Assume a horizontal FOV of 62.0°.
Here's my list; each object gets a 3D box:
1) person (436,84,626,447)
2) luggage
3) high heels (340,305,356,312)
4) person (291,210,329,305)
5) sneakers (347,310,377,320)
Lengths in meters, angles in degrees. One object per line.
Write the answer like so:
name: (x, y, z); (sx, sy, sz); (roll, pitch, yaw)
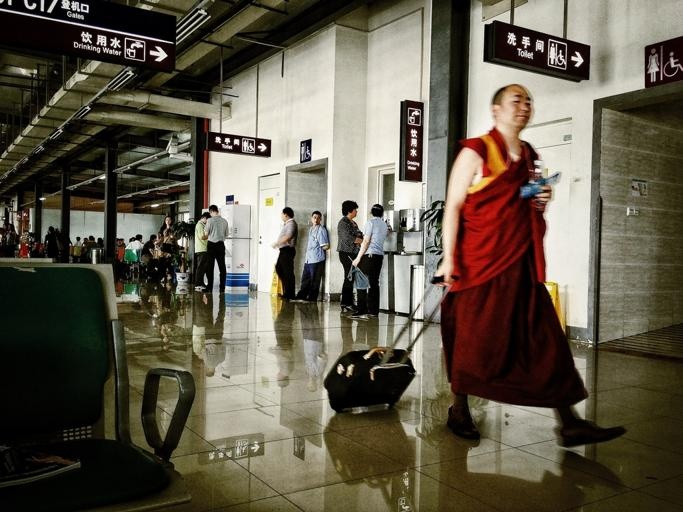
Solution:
person: (0.908, -0.066, 3.100); (0.761, 1.722, 0.263); (2, 2, 10)
luggage: (0.450, 0.749, 4.971); (0.553, 1.333, 0.471); (10, 31, -48)
high heels: (0.101, 0.782, 8.461); (0.210, 0.077, 0.095); (-4, 15, 6)
person: (-0.425, 0.021, 9.563); (0.471, 1.512, 0.607); (0, 3, -19)
sneakers: (0.281, 0.814, 7.616); (0.386, 0.155, 0.132); (6, -5, -13)
